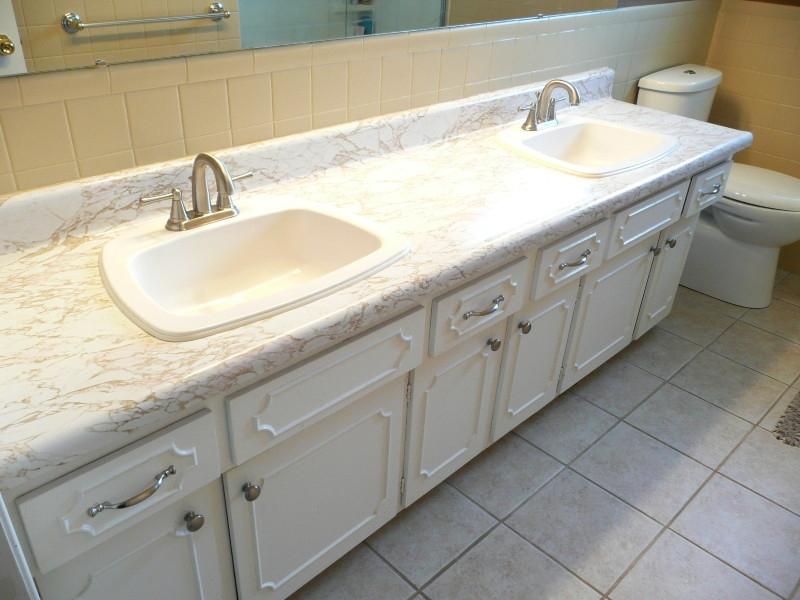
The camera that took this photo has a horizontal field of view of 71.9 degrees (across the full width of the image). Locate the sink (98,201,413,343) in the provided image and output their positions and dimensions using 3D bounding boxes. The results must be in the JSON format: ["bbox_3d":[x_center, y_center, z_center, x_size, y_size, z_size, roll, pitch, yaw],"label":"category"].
[{"bbox_3d":[-0.328,-0.072,1.301,0.634,0.188,0.462,-24,39,-26],"label":"sink"}]
